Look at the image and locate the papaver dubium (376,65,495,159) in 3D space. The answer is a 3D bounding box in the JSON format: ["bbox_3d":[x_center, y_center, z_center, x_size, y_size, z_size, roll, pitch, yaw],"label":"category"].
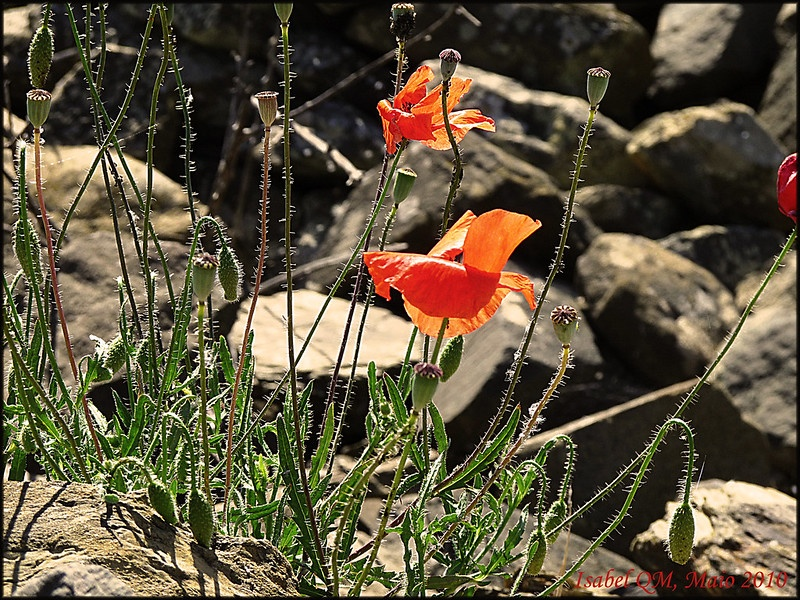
[{"bbox_3d":[0.104,-0.797,5.788,0.413,0.417,0.216,0,-3,-27],"label":"papaver dubium"}]

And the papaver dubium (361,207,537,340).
[{"bbox_3d":[0.219,-0.118,5.577,0.721,0.578,0.318,15,16,5],"label":"papaver dubium"}]
